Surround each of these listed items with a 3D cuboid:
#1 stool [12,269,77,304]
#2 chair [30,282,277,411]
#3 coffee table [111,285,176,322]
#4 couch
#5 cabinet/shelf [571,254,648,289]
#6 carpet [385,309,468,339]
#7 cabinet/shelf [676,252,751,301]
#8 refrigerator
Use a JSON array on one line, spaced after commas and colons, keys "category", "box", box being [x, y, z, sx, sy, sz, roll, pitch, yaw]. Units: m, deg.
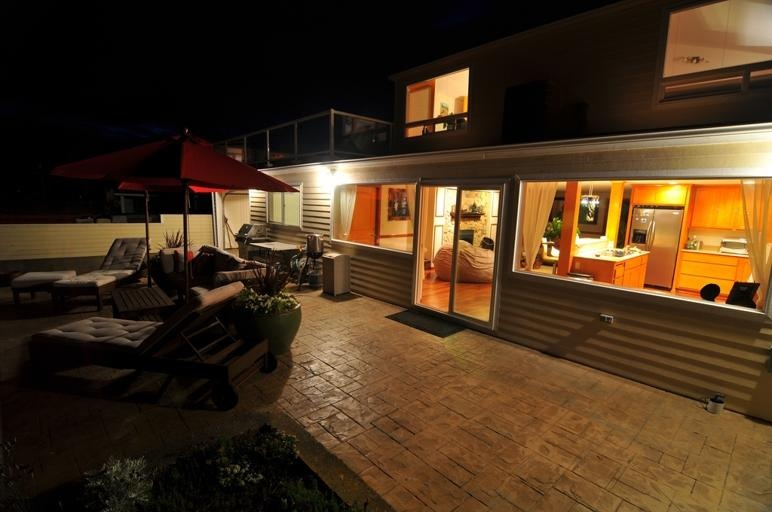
[{"category": "stool", "box": [-7.757, 0.754, 10.011, 1.231, 0.742, 1.306, 3, 12, -34]}, {"category": "chair", "box": [-4.028, 1.293, 7.553, 3.635, 1.439, 1.554, 3, 8, 8]}, {"category": "coffee table", "box": [-4.913, 0.919, 8.927, 1.301, 0.566, 1.561, 2, 9, -22]}, {"category": "couch", "box": [-4.010, 0.514, 10.185, 2.953, 1.044, 1.154, 13, 16, 42]}, {"category": "cabinet/shelf", "box": [5.272, 0.372, 10.091, 2.222, 0.821, 0.764, -3, 9, -33]}, {"category": "carpet", "box": [0.881, 1.475, 9.715, 1.565, 0.243, 0.814, 7, 9, 38]}, {"category": "cabinet/shelf", "box": [7.667, 0.335, 10.634, 0.999, 1.100, 1.969, 8, 7, 20]}, {"category": "refrigerator", "box": [6.702, -0.242, 10.974, 1.195, 1.861, 0.792, 11, 10, 38]}]
